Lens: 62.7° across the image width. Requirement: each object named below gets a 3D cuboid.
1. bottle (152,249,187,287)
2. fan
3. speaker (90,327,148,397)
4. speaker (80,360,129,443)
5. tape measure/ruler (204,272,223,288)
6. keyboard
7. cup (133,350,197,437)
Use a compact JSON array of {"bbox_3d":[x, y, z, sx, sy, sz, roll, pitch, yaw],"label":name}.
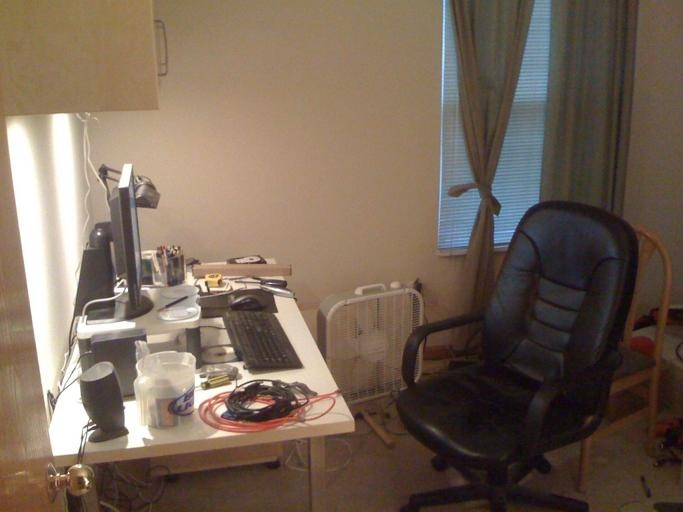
[{"bbox_3d":[-0.794,0.053,2.605,0.179,0.201,0.175,-1,16,-6],"label":"bottle"},{"bbox_3d":[0.152,0.446,2.786,0.594,0.638,0.222,-8,16,-26],"label":"fan"},{"bbox_3d":[-0.692,0.338,1.749,0.191,0.214,0.067,-4,21,-15],"label":"speaker"},{"bbox_3d":[-0.715,0.435,1.680,0.108,0.196,0.138,-12,19,-21],"label":"speaker"},{"bbox_3d":[-0.613,0.115,2.675,0.068,0.026,0.071,-1,28,-7],"label":"tape measure/ruler"},{"bbox_3d":[-0.310,0.307,2.162,0.232,0.042,0.396,-1,28,-22],"label":"keyboard"},{"bbox_3d":[-0.503,0.417,1.717,0.182,0.196,0.225,-1,6,-8],"label":"cup"}]
